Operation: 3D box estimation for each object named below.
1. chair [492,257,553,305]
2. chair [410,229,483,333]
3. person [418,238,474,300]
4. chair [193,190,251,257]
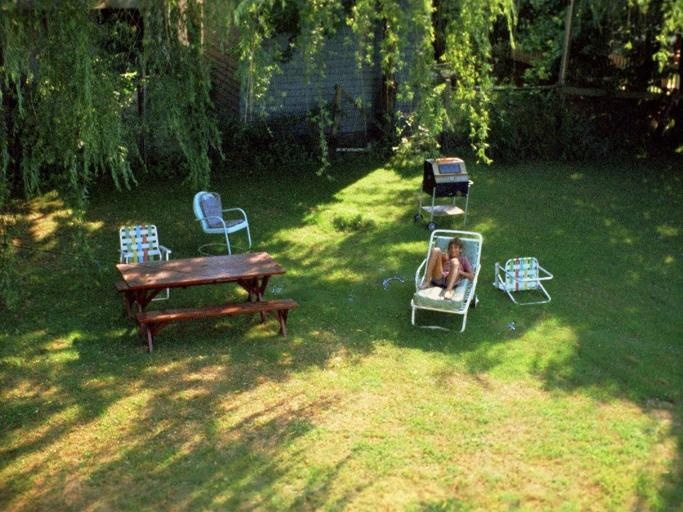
[{"bbox_3d":[2.844,0.375,9.882,0.843,0.555,0.690,-2,14,10],"label":"chair"},{"bbox_3d":[1.563,0.385,9.452,0.928,1.161,1.580,6,21,19],"label":"chair"},{"bbox_3d":[1.605,0.129,9.317,0.561,0.802,0.890,10,6,31],"label":"person"},{"bbox_3d":[-2.159,-0.592,11.236,0.835,1.120,0.909,1,13,3],"label":"chair"}]
